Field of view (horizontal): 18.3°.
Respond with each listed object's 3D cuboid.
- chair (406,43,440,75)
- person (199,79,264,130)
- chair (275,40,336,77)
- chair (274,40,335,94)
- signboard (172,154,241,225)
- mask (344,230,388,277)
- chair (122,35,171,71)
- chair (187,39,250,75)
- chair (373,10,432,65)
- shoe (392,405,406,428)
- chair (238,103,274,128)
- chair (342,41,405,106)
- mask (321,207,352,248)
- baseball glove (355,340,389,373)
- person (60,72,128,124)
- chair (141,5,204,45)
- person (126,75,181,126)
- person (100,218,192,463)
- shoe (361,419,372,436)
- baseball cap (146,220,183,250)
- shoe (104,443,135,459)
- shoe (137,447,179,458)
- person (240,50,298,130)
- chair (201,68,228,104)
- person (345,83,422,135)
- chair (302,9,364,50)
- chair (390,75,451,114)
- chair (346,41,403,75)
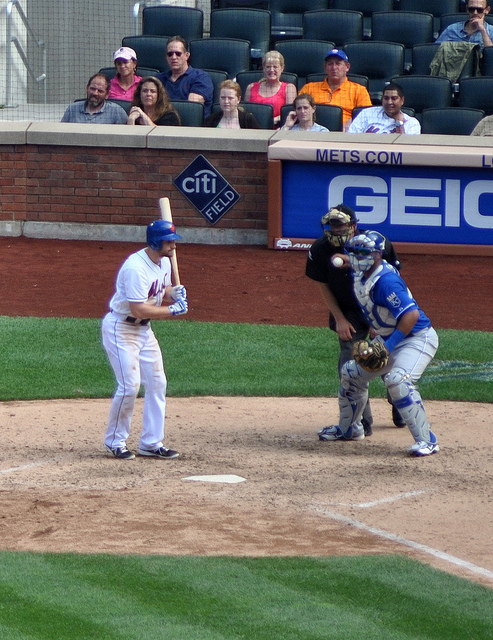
[{"bbox_3d":[2.043,-3.028,17.738,0.305,0.419,0.357,6,21,15],"label":"chair"},{"bbox_3d":[-0.153,-2.288,16.604,0.783,0.553,0.345,5,9,23],"label":"person"},{"bbox_3d":[0.680,-3.064,18.013,0.496,0.572,0.685,-1,9,14],"label":"chair"},{"bbox_3d":[0.668,-2.992,17.827,0.734,0.637,0.346,3,20,15],"label":"chair"},{"bbox_3d":[-0.434,-1.417,16.689,0.735,0.744,0.091,5,13,15],"label":"signboard"},{"bbox_3d":[0.801,-0.444,10.078,0.274,0.274,0.241,-14,17,-40],"label":"mask"},{"bbox_3d":[-1.123,-3.183,18.337,0.482,0.653,0.541,3,35,4],"label":"chair"},{"bbox_3d":[-0.341,-3.110,18.029,0.505,0.553,0.662,1,9,1],"label":"chair"},{"bbox_3d":[1.846,-3.337,18.313,0.642,0.873,0.718,1,21,5],"label":"chair"},{"bbox_3d":[1.081,0.697,10.975,0.109,0.182,0.126,-2,-5,4],"label":"shoe"},{"bbox_3d":[0.123,-2.246,16.837,0.241,0.349,0.277,-1,7,0],"label":"chair"},{"bbox_3d":[1.496,-2.771,17.645,0.760,0.768,0.454,-4,22,1],"label":"chair"},{"bbox_3d":[0.636,-0.647,10.440,0.238,0.274,0.314,1,10,26],"label":"mask"},{"bbox_3d":[0.814,0.232,10.086,0.163,0.113,0.216,19,3,8],"label":"baseball glove"},{"bbox_3d":[-1.630,-2.424,16.810,0.670,0.586,1.311,-1,13,-13],"label":"person"},{"bbox_3d":[-0.894,-3.655,18.822,0.808,0.542,0.527,-7,24,-18],"label":"chair"},{"bbox_3d":[-0.994,-2.337,16.495,0.584,0.528,0.809,1,13,-3],"label":"person"},{"bbox_3d":[-0.701,0.023,10.521,0.555,1.630,1.572,1,13,-4],"label":"person"},{"bbox_3d":[0.843,0.760,10.812,0.046,0.142,0.064,5,-17,-7],"label":"shoe"},{"bbox_3d":[-0.529,-0.549,9.761,0.207,0.161,0.147,2,15,16],"label":"baseball cap"},{"bbox_3d":[-0.830,0.844,10.026,0.186,0.075,0.075,23,33,13],"label":"shoe"},{"bbox_3d":[-0.577,0.843,10.028,0.249,0.092,0.088,0,3,6],"label":"shoe"},{"bbox_3d":[0.240,-2.430,16.870,0.643,1.071,0.535,-9,21,-35],"label":"person"},{"bbox_3d":[-0.341,-2.654,17.440,0.350,0.461,0.382,-1,4,-5],"label":"chair"},{"bbox_3d":[1.409,-2.232,16.177,0.870,0.548,0.717,13,17,42],"label":"person"},{"bbox_3d":[1.017,-3.487,18.280,0.730,0.493,0.388,3,18,18],"label":"chair"},{"bbox_3d":[1.925,-2.532,16.974,0.453,0.499,0.592,3,10,7],"label":"chair"},{"bbox_3d":[1.468,-3.001,17.597,0.457,0.432,0.517,2,-9,3],"label":"chair"}]
